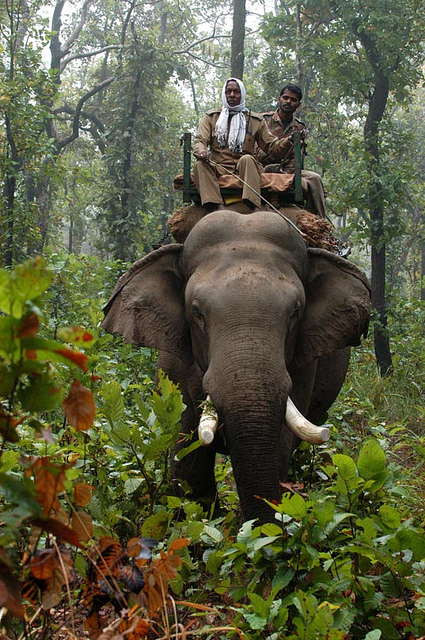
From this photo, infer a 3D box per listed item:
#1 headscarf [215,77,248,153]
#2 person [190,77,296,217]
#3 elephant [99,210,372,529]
[{"bbox_3d":[0.168,-1.658,4.668,0.251,0.502,0.466,8,3,0],"label":"headscarf"},{"bbox_3d":[0.204,-1.313,4.502,0.696,1.040,0.584,1,5,-12],"label":"person"},{"bbox_3d":[0.194,0.310,4.033,1.562,1.775,3.012,0,2,4],"label":"elephant"}]
